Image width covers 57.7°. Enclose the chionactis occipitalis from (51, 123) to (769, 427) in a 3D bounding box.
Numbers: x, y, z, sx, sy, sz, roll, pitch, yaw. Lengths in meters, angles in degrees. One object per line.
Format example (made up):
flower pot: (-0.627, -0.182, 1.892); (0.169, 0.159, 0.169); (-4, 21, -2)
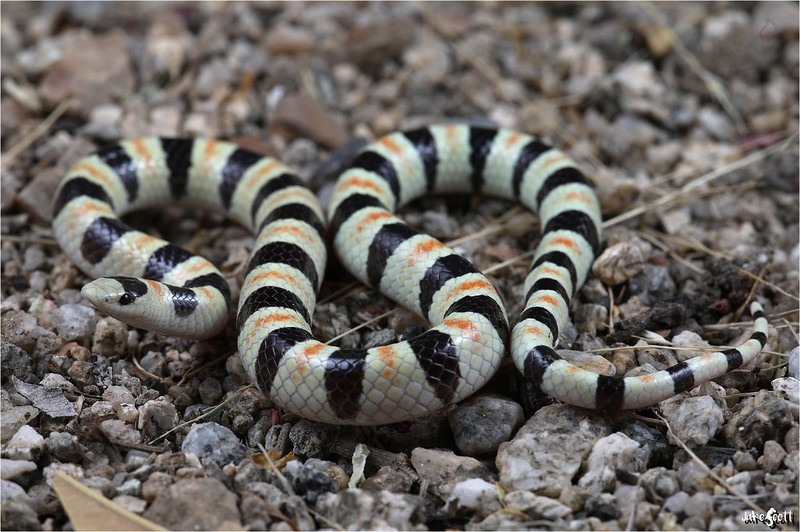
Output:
chionactis occipitalis: (-0.360, -0.092, 4.535); (3.762, 0.902, 2.165); (7, 36, -5)
